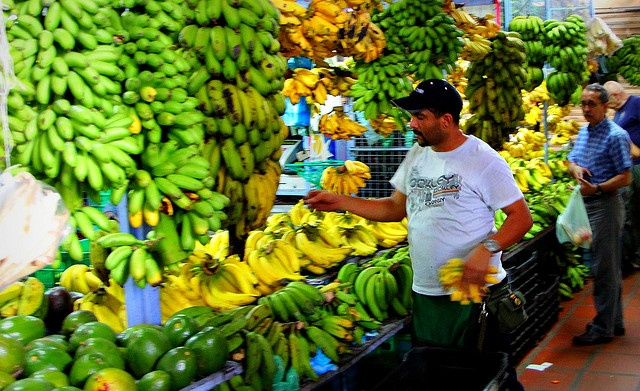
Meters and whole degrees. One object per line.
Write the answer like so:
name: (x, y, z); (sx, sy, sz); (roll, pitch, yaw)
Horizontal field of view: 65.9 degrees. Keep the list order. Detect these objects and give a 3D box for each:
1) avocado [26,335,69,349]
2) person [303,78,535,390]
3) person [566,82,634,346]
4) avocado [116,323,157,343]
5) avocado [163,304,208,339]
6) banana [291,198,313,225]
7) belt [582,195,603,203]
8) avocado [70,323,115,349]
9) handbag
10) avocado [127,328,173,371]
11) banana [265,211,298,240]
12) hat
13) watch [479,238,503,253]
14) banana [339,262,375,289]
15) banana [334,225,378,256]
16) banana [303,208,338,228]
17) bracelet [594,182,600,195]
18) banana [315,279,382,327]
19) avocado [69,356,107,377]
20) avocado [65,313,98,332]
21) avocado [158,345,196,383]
avocado: (-1.225, 0.664, 2.236); (0.099, 0.048, 0.070); (4, 2, -33)
person: (0.766, 0.141, 3.090); (0.603, 1.697, 0.940); (-2, 2, -44)
person: (2.574, 0.198, 4.579); (0.484, 2.413, 0.473); (0, 2, 24)
avocado: (-0.875, 0.657, 2.340); (0.156, 0.073, 0.110); (-9, 13, 1)
avocado: (-0.649, 0.655, 2.497); (0.141, 0.094, 0.189); (22, 56, 41)
banana: (-0.164, 0.163, 4.512); (0.198, 0.265, 0.090); (25, -21, -23)
belt: (2.459, 0.033, 4.481); (0.096, 0.062, 0.087); (-28, 11, -34)
avocado: (-1.067, 0.638, 2.295); (0.169, 0.117, 0.126); (-1, 23, 2)
handbag: (1.130, 0.718, 3.101); (0.244, 0.365, 0.313); (-19, -2, 44)
avocado: (-0.773, 0.712, 2.282); (0.245, 0.162, 0.174); (-1, 5, 11)
banana: (-0.383, 0.259, 4.500); (0.234, 0.068, 0.219); (-24, 32, -31)
hat: (0.651, -0.612, 2.991); (0.474, 0.192, 0.273); (-2, 30, -23)
watch: (0.941, 0.283, 2.721); (0.107, 0.077, 0.047); (0, 2, 4)
banana: (0.263, 0.584, 3.679); (0.185, 0.129, 0.067); (22, -35, -29)
banana: (0.329, 0.386, 4.346); (0.252, 0.316, 0.112); (-34, -21, -20)
banana: (0.000, 0.210, 4.430); (0.222, 0.089, 0.266); (6, 9, -5)
bracelet: (2.458, -0.055, 4.412); (0.036, 0.069, 0.045); (7, -6, 7)
banana: (0.166, 0.742, 3.330); (0.256, 0.134, 0.387); (-18, 22, -36)
avocado: (-0.987, 0.725, 2.103); (0.103, 0.093, 0.109); (-24, -26, -29)
avocado: (-1.207, 0.609, 2.479); (0.102, 0.088, 0.126); (11, 30, 12)
avocado: (-0.634, 0.768, 2.191); (0.171, 0.153, 0.095); (-1, 2, -19)
